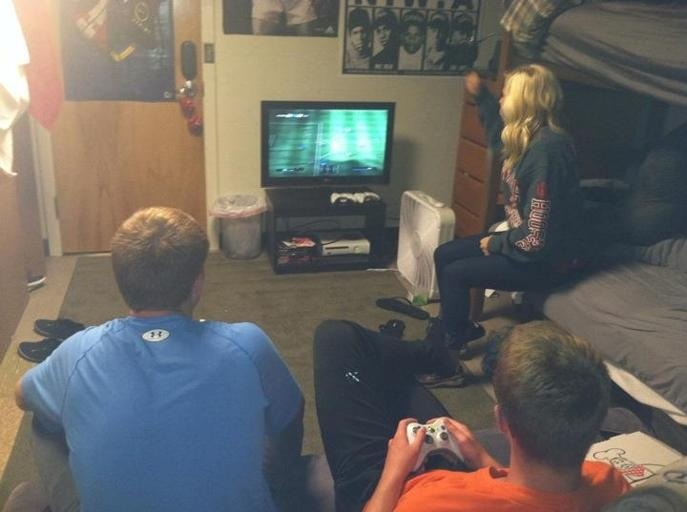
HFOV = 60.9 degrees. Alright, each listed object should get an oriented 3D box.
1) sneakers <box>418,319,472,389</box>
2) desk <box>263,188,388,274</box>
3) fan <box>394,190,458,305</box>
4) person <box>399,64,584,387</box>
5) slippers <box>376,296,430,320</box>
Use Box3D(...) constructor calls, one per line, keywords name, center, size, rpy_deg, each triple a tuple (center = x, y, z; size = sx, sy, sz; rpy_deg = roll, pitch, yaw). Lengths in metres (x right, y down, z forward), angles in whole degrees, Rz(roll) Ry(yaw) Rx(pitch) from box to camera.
Box3D(name="sneakers", center=(0.522, 0.520, 2.933), size=(0.259, 0.379, 0.106), rpy_deg=(-6, 6, 1))
Box3D(name="desk", center=(-0.149, -0.225, 4.441), size=(1.153, 0.666, 0.615), rpy_deg=(-3, 27, -7))
Box3D(name="fan", center=(0.538, -0.035, 3.830), size=(0.267, 0.715, 0.688), rpy_deg=(-2, 20, -9))
Box3D(name="person", center=(0.875, -0.195, 3.282), size=(0.900, 1.651, 0.806), rpy_deg=(0, 16, 21))
Box3D(name="slippers", center=(0.401, 0.326, 3.831), size=(0.295, 0.020, 0.128), rpy_deg=(15, 37, 25))
